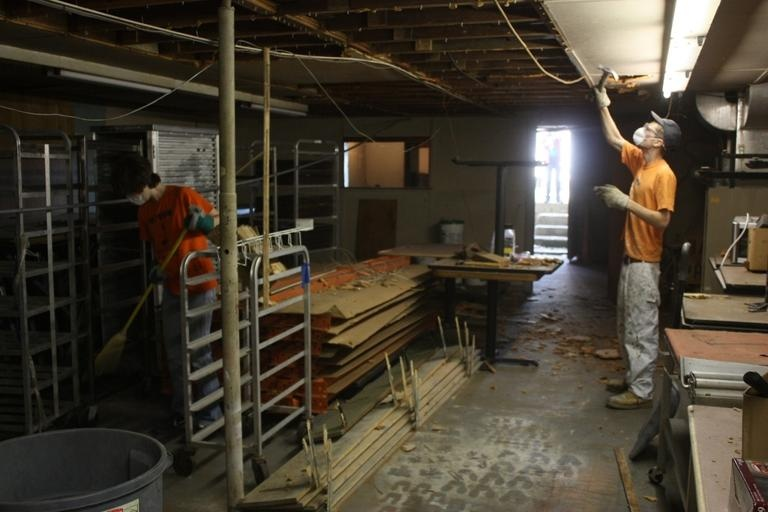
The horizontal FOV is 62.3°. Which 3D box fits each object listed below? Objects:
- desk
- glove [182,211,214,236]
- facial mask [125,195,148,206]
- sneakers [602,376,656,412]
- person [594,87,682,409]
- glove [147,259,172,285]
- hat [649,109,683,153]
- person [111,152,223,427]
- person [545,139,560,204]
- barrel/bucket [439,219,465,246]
[{"bbox_3d":[1.271,0.703,7.611,1.280,1.092,1.237,0,1,12],"label":"desk"},{"bbox_3d":[-1.514,-0.276,5.210,0.249,0.183,0.272,-4,14,-18],"label":"glove"},{"bbox_3d":[-2.155,-0.484,5.531,0.159,0.078,0.194,0,-6,-23],"label":"facial mask"},{"bbox_3d":[2.341,1.381,6.235,0.550,0.227,0.188,3,3,4],"label":"sneakers"},{"bbox_3d":[2.415,0.043,6.160,0.591,2.775,0.891,6,15,21],"label":"person"},{"bbox_3d":[-1.956,0.136,5.482,0.142,0.223,0.273,-12,19,-41],"label":"glove"},{"bbox_3d":[2.656,-1.159,5.961,0.217,0.312,0.260,8,16,28],"label":"hat"},{"bbox_3d":[-1.777,0.341,5.500,0.692,2.372,1.029,-10,18,-36],"label":"person"},{"bbox_3d":[4.733,-2.347,17.656,0.403,1.720,0.724,4,15,14],"label":"person"},{"bbox_3d":[1.233,-0.435,11.429,0.463,0.448,0.441,0,1,0],"label":"barrel/bucket"}]
